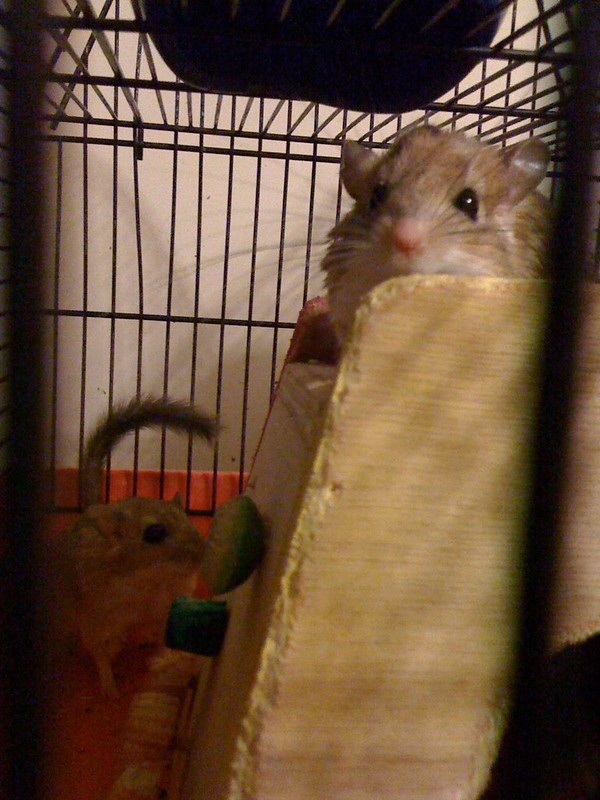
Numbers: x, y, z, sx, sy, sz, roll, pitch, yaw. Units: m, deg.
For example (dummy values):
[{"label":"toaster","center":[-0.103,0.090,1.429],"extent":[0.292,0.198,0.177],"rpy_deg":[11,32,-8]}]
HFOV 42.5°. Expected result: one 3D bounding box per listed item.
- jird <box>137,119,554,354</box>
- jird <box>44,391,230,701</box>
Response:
[{"label":"jird","center":[0.241,-0.259,1.326],"extent":[0.370,0.357,0.517],"rpy_deg":[6,9,19]},{"label":"jird","center":[-0.326,0.265,1.480],"extent":[0.419,0.575,0.228],"rpy_deg":[9,1,42]}]
